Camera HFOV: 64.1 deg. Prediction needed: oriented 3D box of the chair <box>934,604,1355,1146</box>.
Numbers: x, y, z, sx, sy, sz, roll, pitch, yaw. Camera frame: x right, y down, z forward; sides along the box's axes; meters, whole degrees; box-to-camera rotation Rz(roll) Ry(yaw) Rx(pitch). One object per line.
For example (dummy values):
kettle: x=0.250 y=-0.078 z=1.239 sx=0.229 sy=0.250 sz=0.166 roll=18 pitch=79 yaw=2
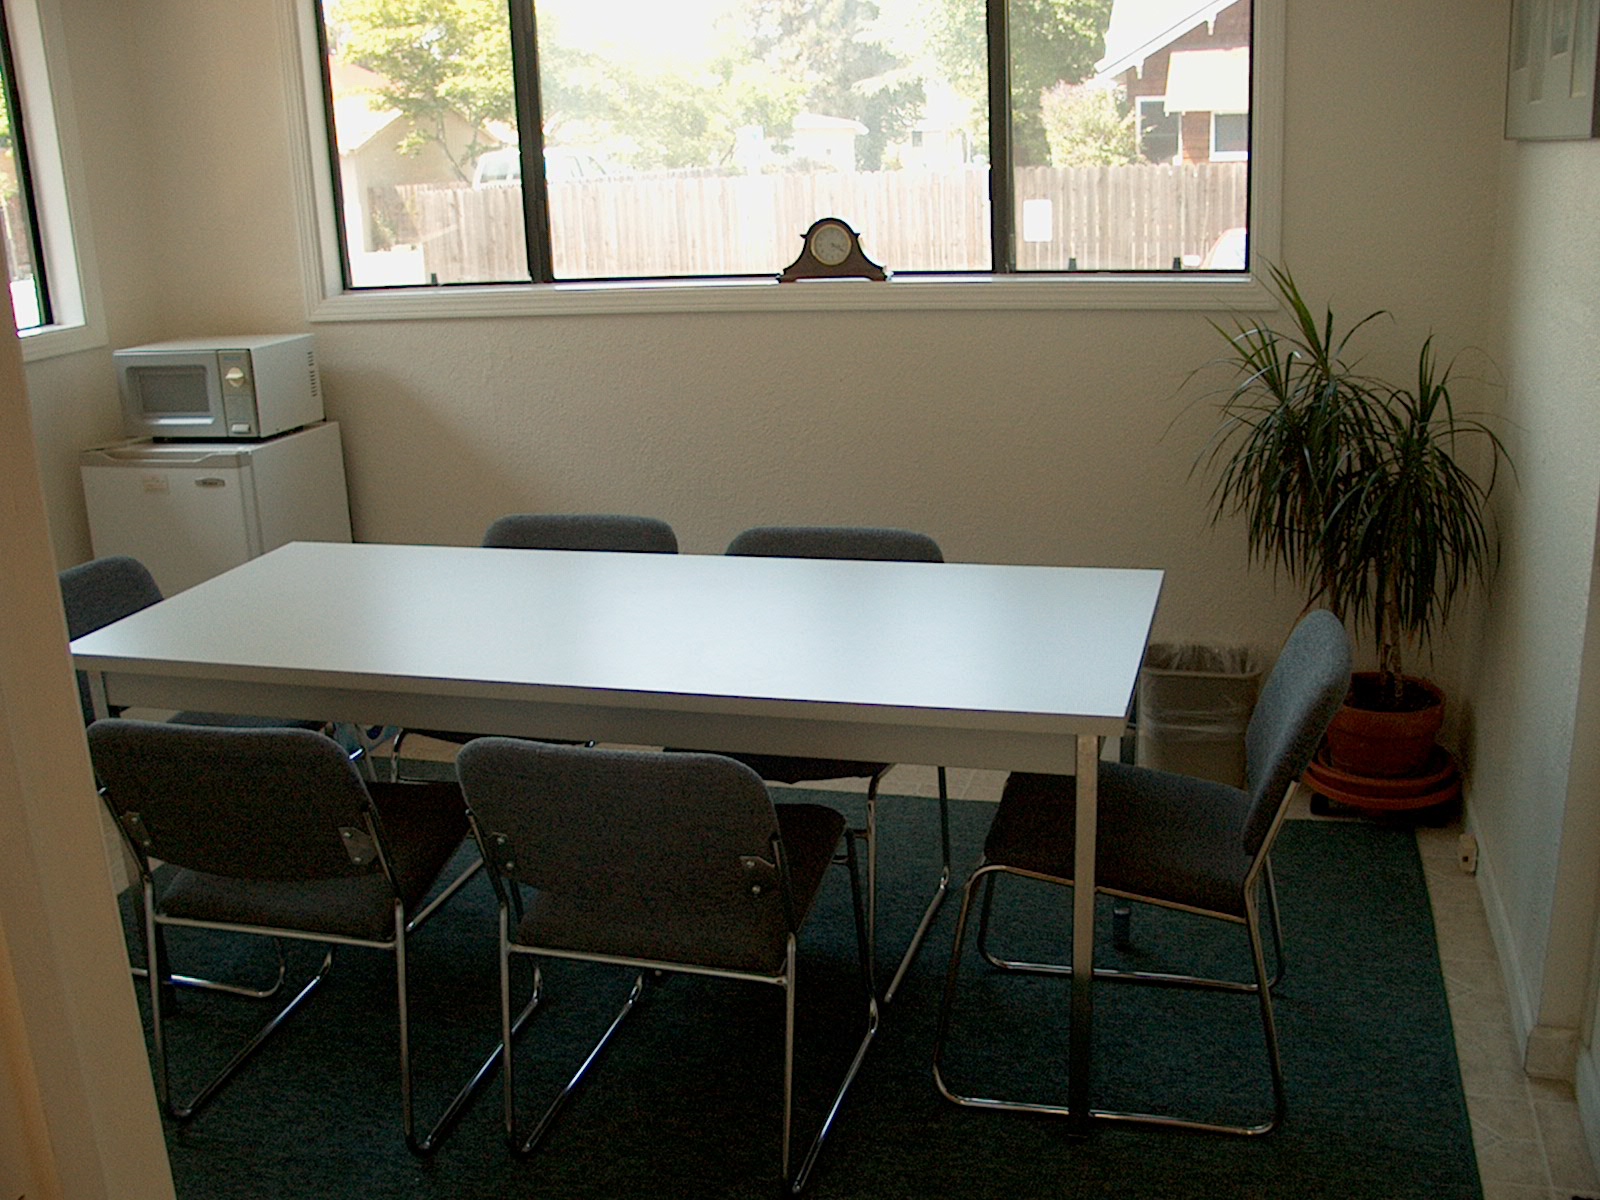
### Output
chair: x=0.741 y=0.518 z=2.863 sx=0.790 sy=1.010 sz=0.775 roll=3 pitch=17 yaw=15

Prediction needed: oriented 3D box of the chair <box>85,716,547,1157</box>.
chair: x=-1.083 y=0.629 z=2.905 sx=0.589 sy=1.049 sz=0.882 roll=3 pitch=16 yaw=6

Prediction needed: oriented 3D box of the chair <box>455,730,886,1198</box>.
chair: x=-0.285 y=0.795 z=2.674 sx=0.556 sy=0.902 sz=0.751 roll=2 pitch=30 yaw=8

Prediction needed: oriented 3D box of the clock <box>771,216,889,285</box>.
clock: x=0.120 y=-1.263 z=4.603 sx=0.291 sy=0.173 sz=0.105 roll=0 pitch=12 yaw=5

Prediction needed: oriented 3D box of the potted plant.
potted plant: x=1.762 y=-0.133 z=3.827 sx=0.711 sy=1.401 sz=0.891 roll=-2 pitch=-1 yaw=-19

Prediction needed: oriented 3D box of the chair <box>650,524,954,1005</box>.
chair: x=0.077 y=0.454 z=3.594 sx=0.821 sy=1.181 sz=0.819 roll=1 pitch=-17 yaw=37
